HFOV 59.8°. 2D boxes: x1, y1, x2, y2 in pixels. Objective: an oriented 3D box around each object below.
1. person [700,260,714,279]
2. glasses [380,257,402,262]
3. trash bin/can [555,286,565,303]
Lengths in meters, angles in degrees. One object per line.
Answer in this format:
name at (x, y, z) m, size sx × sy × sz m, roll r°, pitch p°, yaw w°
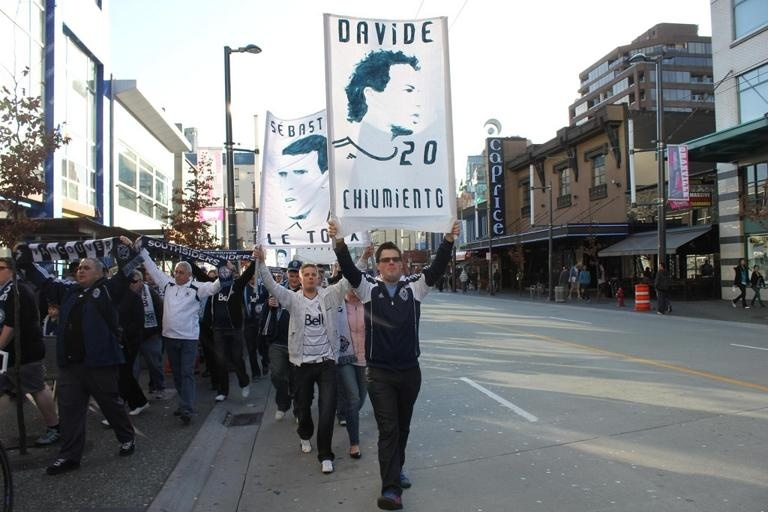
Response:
person at (16.310, 0.546, 33.770) m, size 0.419 × 0.882 × 1.408 m, roll 0°, pitch 6°, yaw 18°
glasses at (0.105, 0.030, 9.008) m, size 0.301 × 0.087 × 0.114 m, roll -3°, pitch 6°, yaw -19°
trash bin/can at (9.468, 1.994, 35.882) m, size 0.604 × 0.895 × 0.475 m, roll 2°, pitch 7°, yaw 35°
